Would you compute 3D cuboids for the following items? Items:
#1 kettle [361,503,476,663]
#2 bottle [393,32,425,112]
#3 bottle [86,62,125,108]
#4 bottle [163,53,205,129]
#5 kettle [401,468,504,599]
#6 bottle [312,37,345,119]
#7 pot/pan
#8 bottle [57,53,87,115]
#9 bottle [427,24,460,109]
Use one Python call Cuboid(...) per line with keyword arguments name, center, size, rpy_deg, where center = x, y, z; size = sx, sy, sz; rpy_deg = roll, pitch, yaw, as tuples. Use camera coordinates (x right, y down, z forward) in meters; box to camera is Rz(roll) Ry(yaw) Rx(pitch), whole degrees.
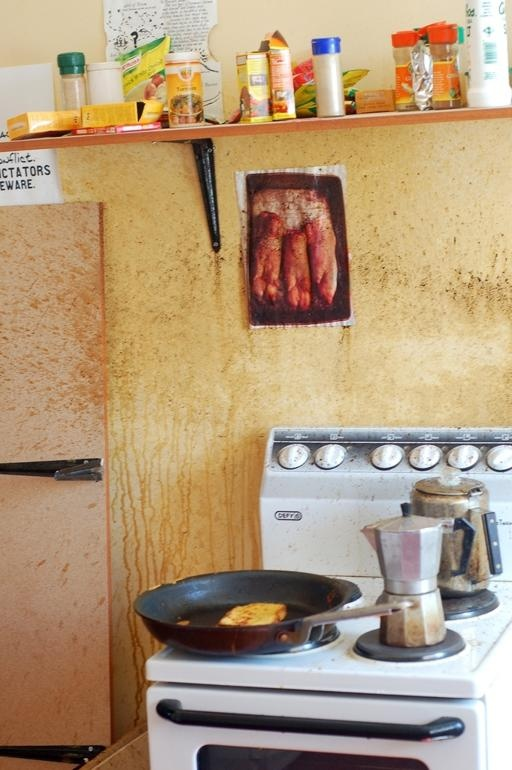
Cuboid(name="kettle", center=(0.213, 0.296, 1.024), size=(0.219, 0.242, 0.169), rpy_deg=(-1, 0, -9))
Cuboid(name="bottle", center=(0.309, -0.631, 1.316), size=(0.055, 0.149, 0.138), rpy_deg=(-4, 13, 15))
Cuboid(name="bottle", center=(-0.340, -0.679, 1.470), size=(0.090, 0.091, 0.121), rpy_deg=(-9, 13, -10))
Cuboid(name="bottle", center=(-0.145, -0.627, 1.374), size=(0.090, 0.141, 0.086), rpy_deg=(0, 25, 0))
Cuboid(name="kettle", center=(0.367, 0.269, 1.119), size=(0.129, 0.196, 0.207), rpy_deg=(-2, 2, -9))
Cuboid(name="bottle", center=(0.150, -0.624, 1.322), size=(0.059, 0.160, 0.129), rpy_deg=(-5, 13, 9))
Cuboid(name="pot/pan", center=(-0.001, 0.363, 1.066), size=(0.316, 0.044, 0.205), rpy_deg=(-2, -2, 28))
Cuboid(name="bottle", center=(-0.405, -0.678, 1.442), size=(0.064, 0.141, 0.133), rpy_deg=(-10, 13, -12))
Cuboid(name="bottle", center=(0.371, -0.619, 1.251), size=(0.067, 0.162, 0.053), rpy_deg=(-9, 13, -6))
